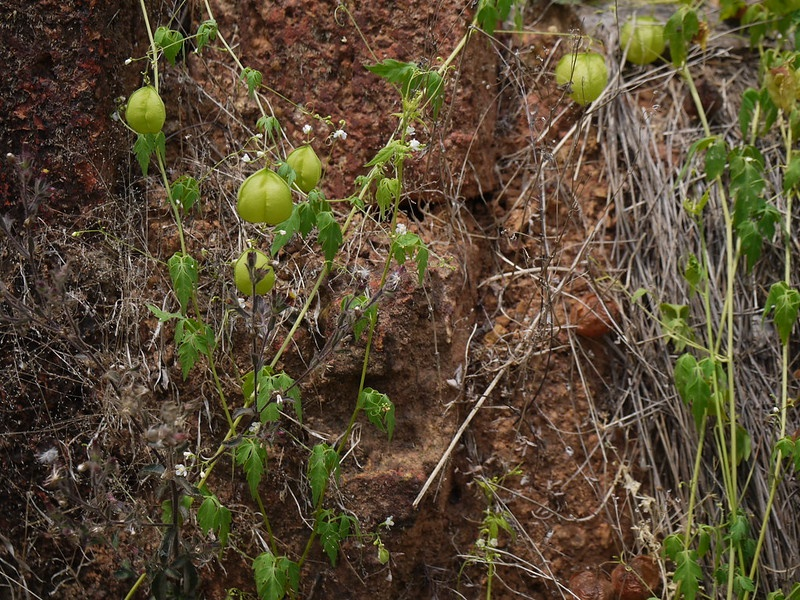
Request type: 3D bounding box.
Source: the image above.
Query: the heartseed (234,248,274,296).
[{"bbox_3d":[-0.547,-0.101,3.347,0.125,0.198,0.049,-2,14,-6],"label":"heartseed"}]
